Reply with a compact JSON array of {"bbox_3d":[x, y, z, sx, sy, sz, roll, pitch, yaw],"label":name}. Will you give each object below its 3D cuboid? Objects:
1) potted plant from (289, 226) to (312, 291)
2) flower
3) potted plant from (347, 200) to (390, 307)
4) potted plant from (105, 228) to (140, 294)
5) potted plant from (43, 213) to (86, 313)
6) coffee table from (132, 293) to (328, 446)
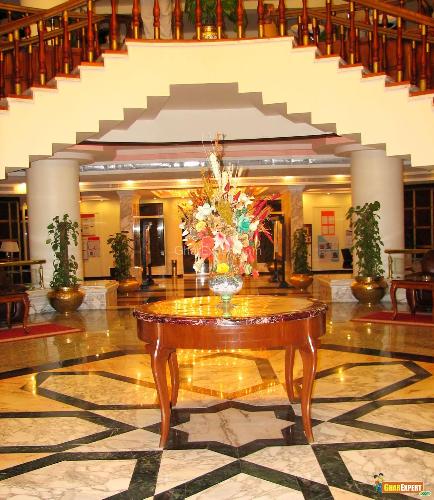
[{"bbox_3d":[2.211,0.215,11.507,0.578,1.360,0.892,-2,0,8],"label":"potted plant"},{"bbox_3d":[0.052,-0.256,2.610,0.586,0.745,0.538,-2,0,-1],"label":"flower"},{"bbox_3d":[2.841,0.041,8.105,0.681,1.459,1.049,-2,0,20],"label":"potted plant"},{"bbox_3d":[-2.532,0.311,11.337,0.726,1.584,0.565,-2,1,2],"label":"potted plant"},{"bbox_3d":[-2.846,0.255,7.911,0.623,1.842,0.646,-3,1,-20],"label":"potted plant"},{"bbox_3d":[0.092,0.483,2.614,1.269,0.709,0.932,0,18,2],"label":"coffee table"}]
